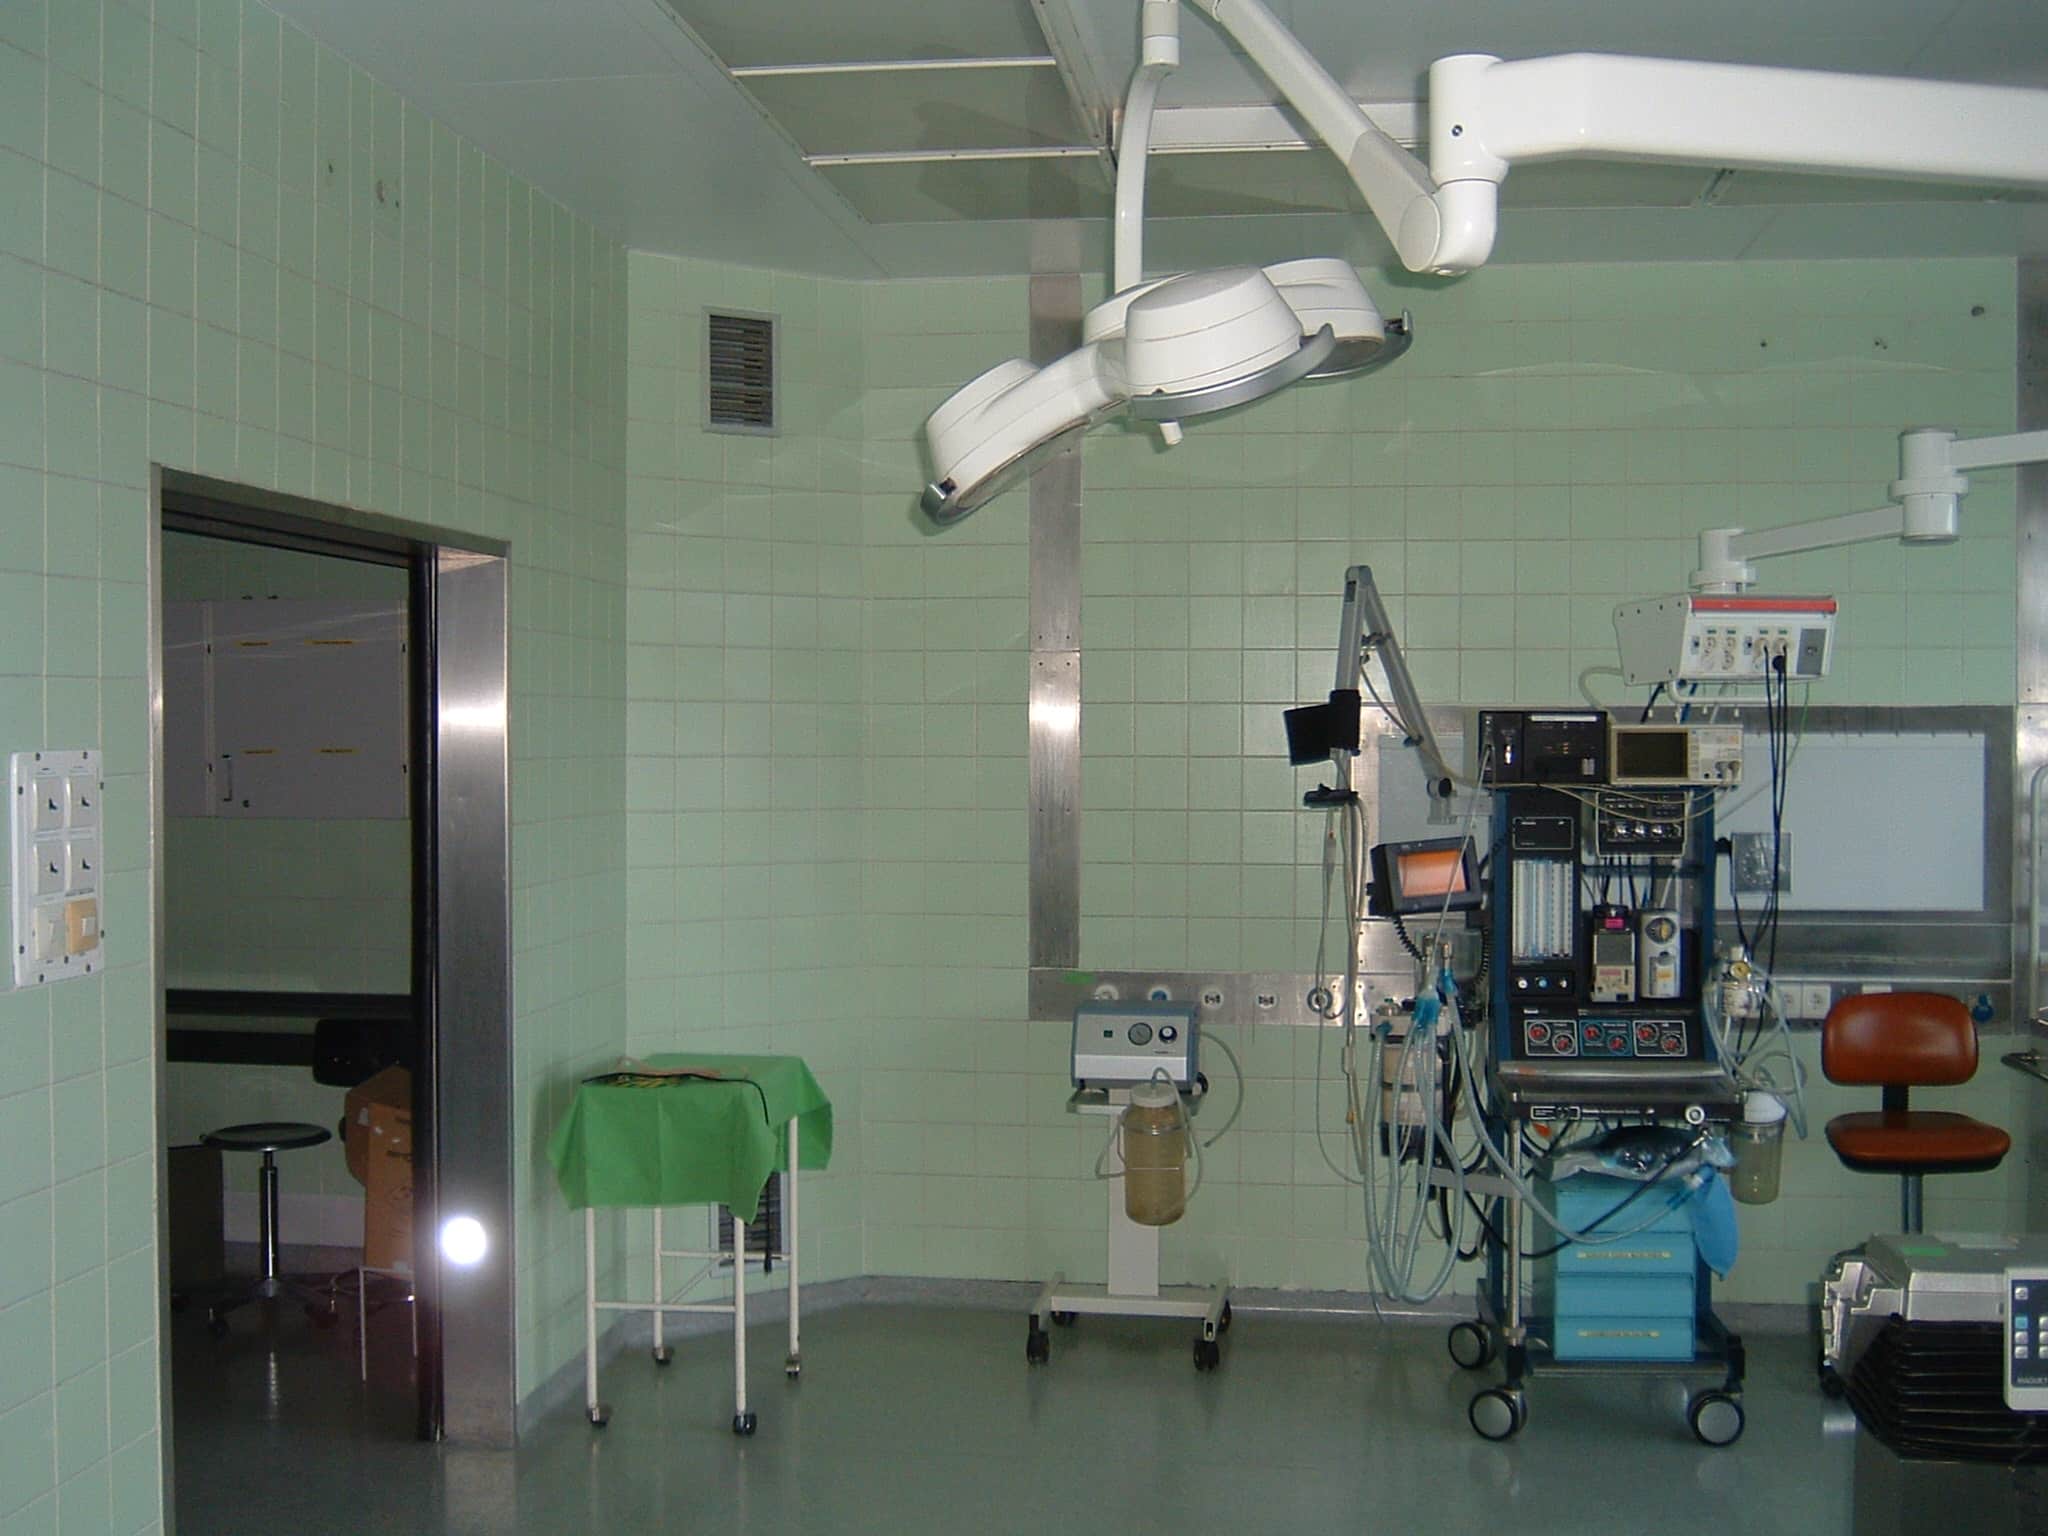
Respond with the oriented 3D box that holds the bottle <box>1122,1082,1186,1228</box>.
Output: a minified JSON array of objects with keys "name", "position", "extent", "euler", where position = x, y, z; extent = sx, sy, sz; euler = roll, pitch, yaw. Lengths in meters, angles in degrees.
[{"name":"bottle","position":[0.443,1.259,6.377],"extent":[0.124,0.394,0.319],"euler":[6,9,42]}]

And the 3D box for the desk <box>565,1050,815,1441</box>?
[{"name":"desk","position":[-0.938,1.343,6.029],"extent":[0.935,1.146,0.855],"euler":[0,0,8]}]

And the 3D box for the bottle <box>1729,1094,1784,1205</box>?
[{"name":"bottle","position":[2.113,1.095,5.726],"extent":[0.126,0.349,0.205],"euler":[2,7,20]}]

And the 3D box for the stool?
[{"name":"stool","position":[-2.567,1.527,6.730],"extent":[0.568,0.808,0.568],"euler":[-1,5,-31]}]
